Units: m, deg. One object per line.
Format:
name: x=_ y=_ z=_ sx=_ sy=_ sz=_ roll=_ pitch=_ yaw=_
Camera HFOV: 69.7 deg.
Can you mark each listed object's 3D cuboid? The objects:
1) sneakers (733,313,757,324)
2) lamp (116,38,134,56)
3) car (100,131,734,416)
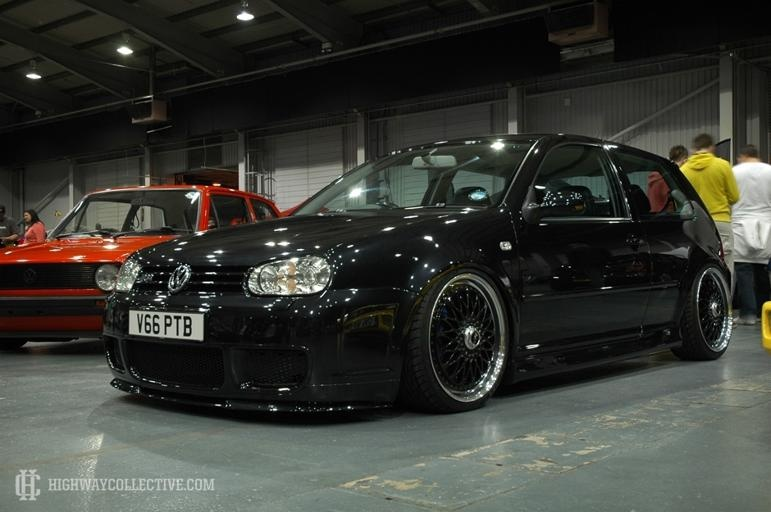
sneakers: x=4.632 y=0.802 z=7.059 sx=0.152 sy=0.130 sz=0.438 roll=-5 pitch=-7 yaw=44
lamp: x=-8.069 y=-6.529 z=17.123 sx=0.221 sy=0.667 sz=0.850 roll=15 pitch=15 yaw=-41
car: x=0.696 y=0.084 z=3.989 sx=4.021 sy=1.001 sz=2.060 roll=3 pitch=-7 yaw=-36
